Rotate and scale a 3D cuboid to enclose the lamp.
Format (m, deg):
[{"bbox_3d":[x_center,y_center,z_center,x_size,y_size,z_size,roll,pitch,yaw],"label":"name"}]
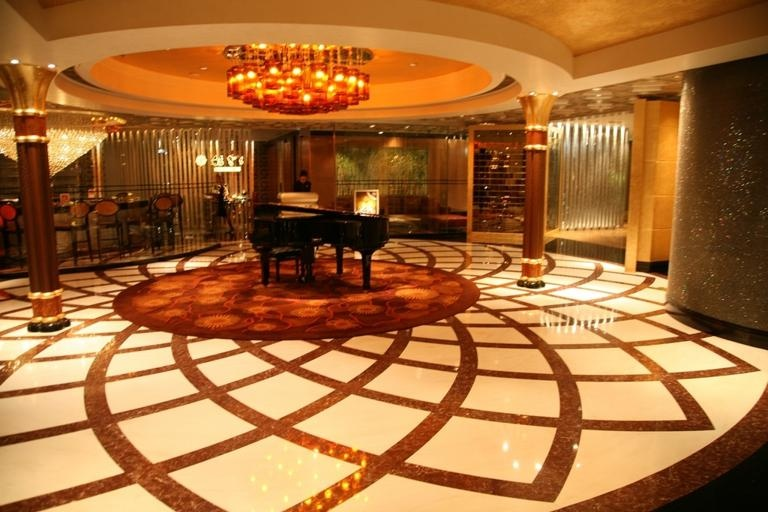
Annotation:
[{"bbox_3d":[-1.588,-3.195,8.763,2.556,0.726,2.240,-12,23,-32],"label":"lamp"}]

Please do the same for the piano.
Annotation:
[{"bbox_3d":[-1.202,-0.102,8.647,2.801,0.951,1.948,1,-5,30],"label":"piano"}]
